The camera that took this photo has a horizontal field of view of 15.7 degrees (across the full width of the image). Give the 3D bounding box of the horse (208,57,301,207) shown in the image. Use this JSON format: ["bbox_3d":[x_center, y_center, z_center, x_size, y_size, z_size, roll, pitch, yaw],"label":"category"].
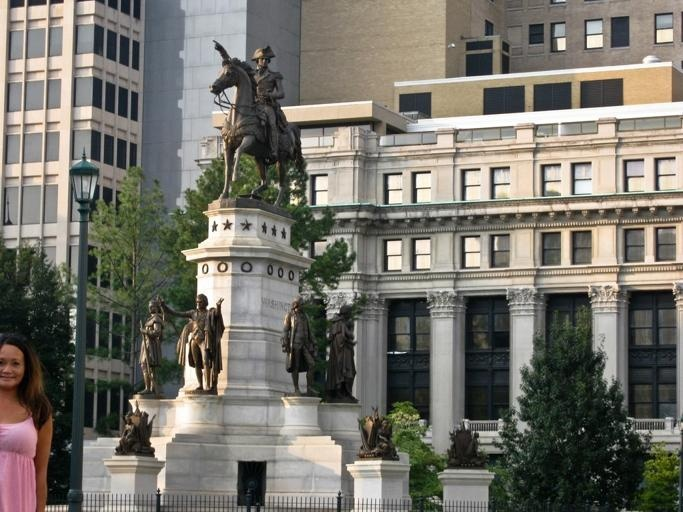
[{"bbox_3d":[-4.113,-5.708,111.076,2.140,6.806,4.990,-5,-9,35],"label":"horse"}]
